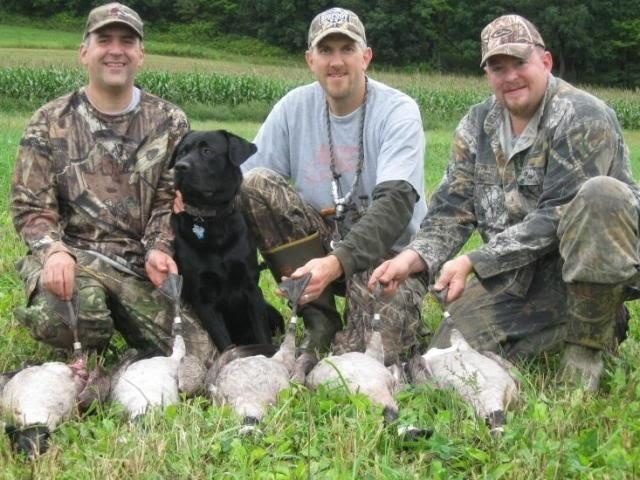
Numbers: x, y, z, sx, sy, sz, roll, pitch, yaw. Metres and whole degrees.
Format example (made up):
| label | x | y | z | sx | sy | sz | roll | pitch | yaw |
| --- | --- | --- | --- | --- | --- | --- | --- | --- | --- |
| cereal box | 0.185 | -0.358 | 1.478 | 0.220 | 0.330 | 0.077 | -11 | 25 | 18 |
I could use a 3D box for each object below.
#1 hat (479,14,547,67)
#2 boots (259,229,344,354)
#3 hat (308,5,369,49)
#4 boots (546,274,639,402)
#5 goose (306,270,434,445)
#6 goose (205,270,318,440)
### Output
| label | x | y | z | sx | sy | sz | roll | pitch | yaw |
| --- | --- | --- | --- | --- | --- | --- | --- | --- | --- |
| hat | 1.352 | -1.443 | 5.640 | 0.424 | 0.312 | 0.604 | -12 | 10 | 21 |
| boots | -0.115 | 0.409 | 6.032 | 0.721 | 0.353 | 0.828 | -29 | 60 | -17 |
| hat | 0.133 | -1.603 | 6.000 | 0.450 | 0.314 | 0.365 | 3 | 14 | -1 |
| boots | 1.770 | 0.605 | 5.139 | 0.367 | 0.683 | 0.424 | 8 | 15 | 17 |
| goose | 0.396 | 0.690 | 5.395 | 0.419 | 1.363 | 0.586 | -13 | 55 | -3 |
| goose | -0.482 | 0.796 | 4.920 | 0.975 | 0.995 | 0.343 | -15 | 17 | -36 |
